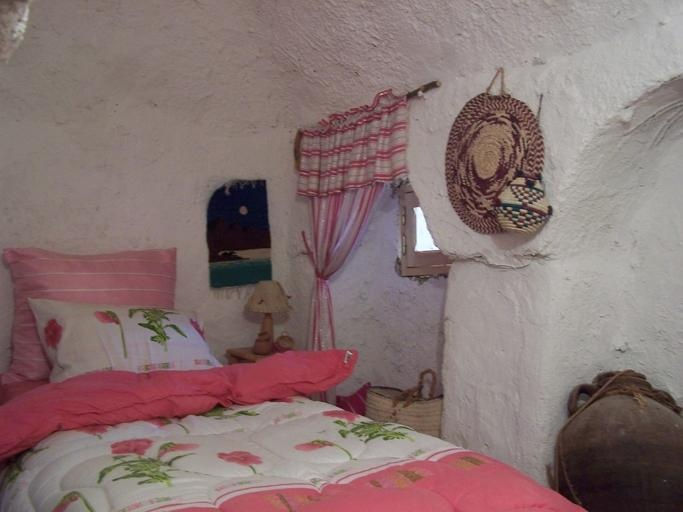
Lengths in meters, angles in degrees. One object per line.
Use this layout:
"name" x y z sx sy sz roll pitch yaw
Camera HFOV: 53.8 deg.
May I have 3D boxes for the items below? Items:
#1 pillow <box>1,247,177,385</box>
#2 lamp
"pillow" -1.375 0.309 3.566 0.756 0.682 0.215 3 -17 -29
"lamp" -0.463 0.376 4.339 0.294 0.438 0.489 0 -1 -8
